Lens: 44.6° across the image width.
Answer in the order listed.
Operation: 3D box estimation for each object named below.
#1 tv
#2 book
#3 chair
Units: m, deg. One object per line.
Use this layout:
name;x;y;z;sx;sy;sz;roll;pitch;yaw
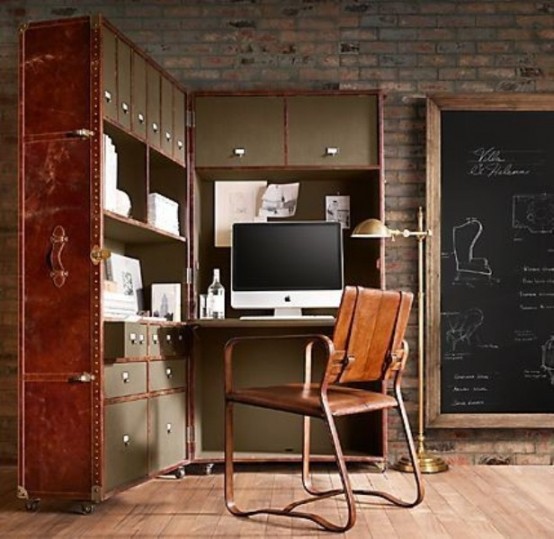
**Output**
tv;0.040;-0.025;3.600;0.532;0.454;0.104;-1;-13;-1
book;-0.685;-0.232;3.367;0.290;0.809;0.902;-1;-9;6
chair;0.182;0.549;2.984;0.848;0.983;1.001;0;0;-5
